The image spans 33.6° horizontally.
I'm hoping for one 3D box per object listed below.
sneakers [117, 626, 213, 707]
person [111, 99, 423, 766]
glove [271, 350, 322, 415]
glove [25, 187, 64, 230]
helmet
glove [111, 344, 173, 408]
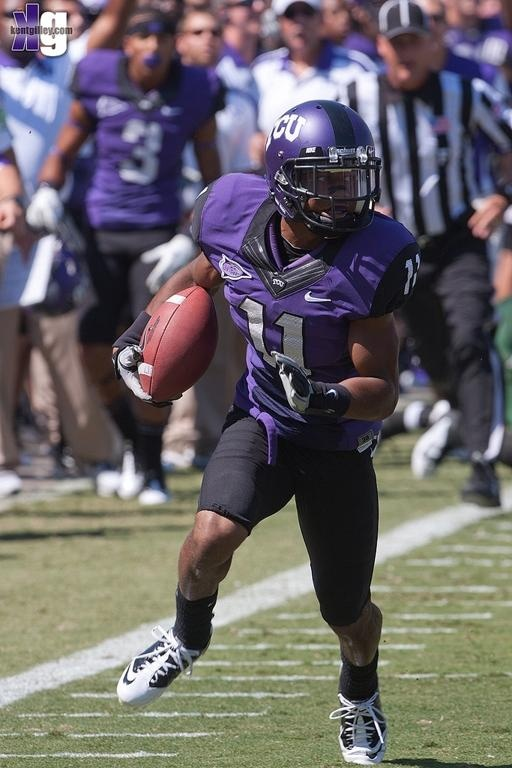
[{"bbox_3d":[-0.193,0.552,1.681,0.207,0.099,0.081,-34,-13,-33],"label":"sneakers"},{"bbox_3d":[-0.003,0.091,1.773,0.645,1.377,0.554,2,2,33],"label":"person"},{"bbox_3d":[0.068,0.004,1.458,0.045,0.127,0.054,-15,30,47],"label":"glove"},{"bbox_3d":[-1.038,-0.853,4.218,0.158,0.212,0.144,1,-26,-3],"label":"glove"},{"bbox_3d":[0.128,-0.438,1.698,0.232,0.291,0.212,1,2,9],"label":"helmet"},{"bbox_3d":[-0.255,-0.004,2.033,0.061,0.160,0.118,-36,49,-4],"label":"glove"}]
